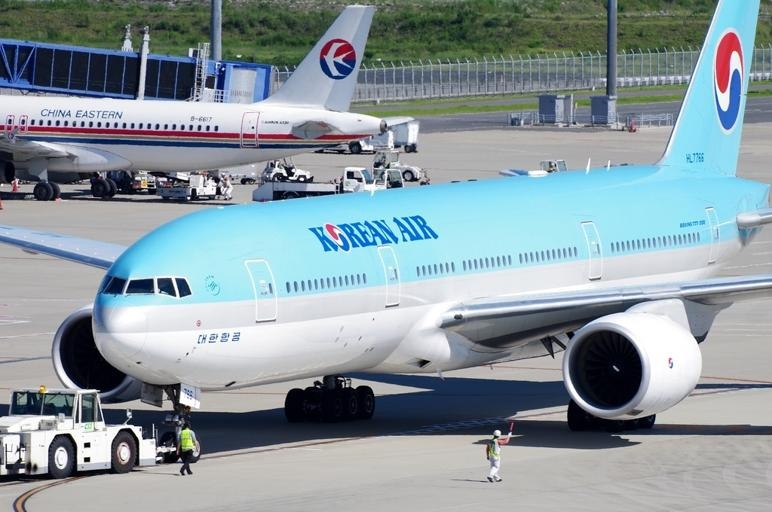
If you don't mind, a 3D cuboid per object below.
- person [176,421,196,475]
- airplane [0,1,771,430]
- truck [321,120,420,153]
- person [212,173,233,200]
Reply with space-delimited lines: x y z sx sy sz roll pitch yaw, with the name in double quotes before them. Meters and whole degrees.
"person" -4.951 4.826 32.844 0.418 1.129 0.894 -2 14 -9
"airplane" 1.965 -1.599 38.703 23.369 11.630 16.521 -9 16 -36
"truck" -0.780 -8.883 91.840 5.762 2.320 3.650 -1 3 23
"person" -8.981 -3.898 73.628 1.155 1.383 0.505 10 20 19
